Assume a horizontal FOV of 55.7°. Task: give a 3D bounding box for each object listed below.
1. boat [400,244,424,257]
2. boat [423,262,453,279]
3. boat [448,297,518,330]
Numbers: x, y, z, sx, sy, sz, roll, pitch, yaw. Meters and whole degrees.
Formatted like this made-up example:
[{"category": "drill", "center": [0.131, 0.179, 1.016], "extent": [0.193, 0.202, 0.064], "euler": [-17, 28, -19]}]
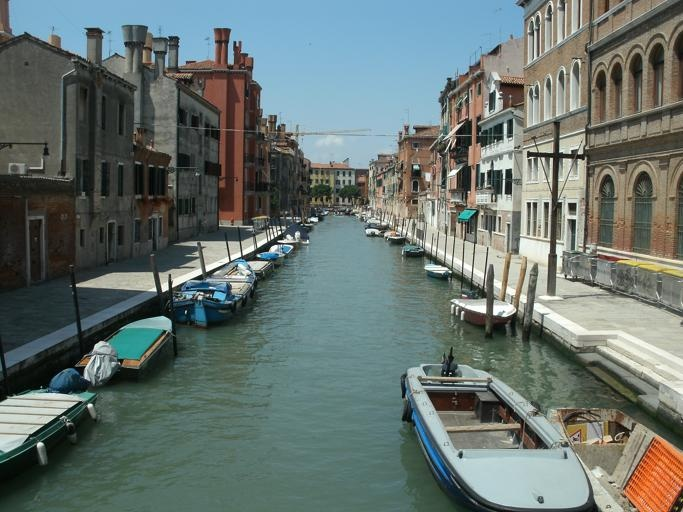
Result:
[{"category": "boat", "center": [6.757, -0.523, 61.175], "extent": [1.887, 0.870, 2.594], "euler": [3, 9, 10]}, {"category": "boat", "center": [6.845, 1.146, 45.636], "extent": [0.900, 0.892, 2.486], "euler": [-3, 10, -21]}, {"category": "boat", "center": [6.821, 2.730, 31.085], "extent": [1.712, 1.164, 3.764], "euler": [-2, 10, -19]}]
